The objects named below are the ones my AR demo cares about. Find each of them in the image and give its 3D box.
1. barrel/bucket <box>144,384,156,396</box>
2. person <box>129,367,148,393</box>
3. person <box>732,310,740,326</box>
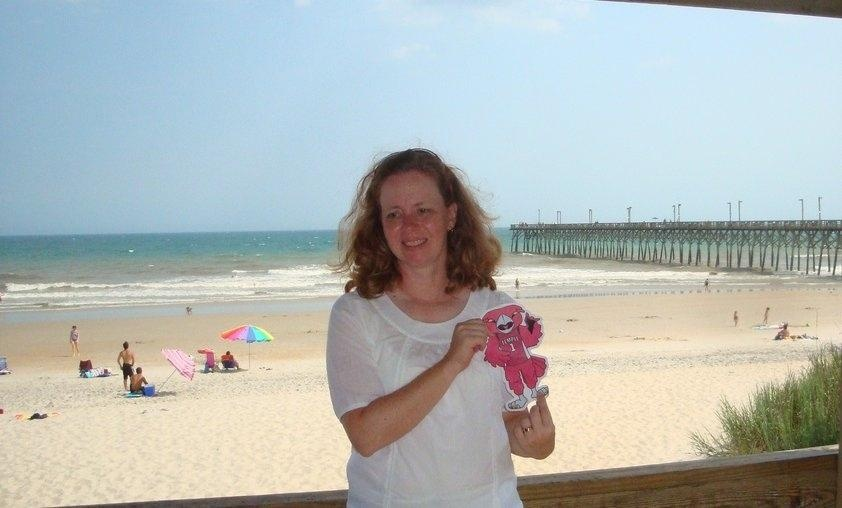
[{"bbox_3d":[-21.721,10.865,65.817,1.052,0.980,0.757,0,-2,-11],"label":"barrel/bucket"},{"bbox_3d":[-22.696,10.066,65.769,1.332,1.822,0.881,-3,2,-20],"label":"person"},{"bbox_3d":[29.206,6.016,76.572,0.422,0.835,1.458,-2,41,22],"label":"person"}]
